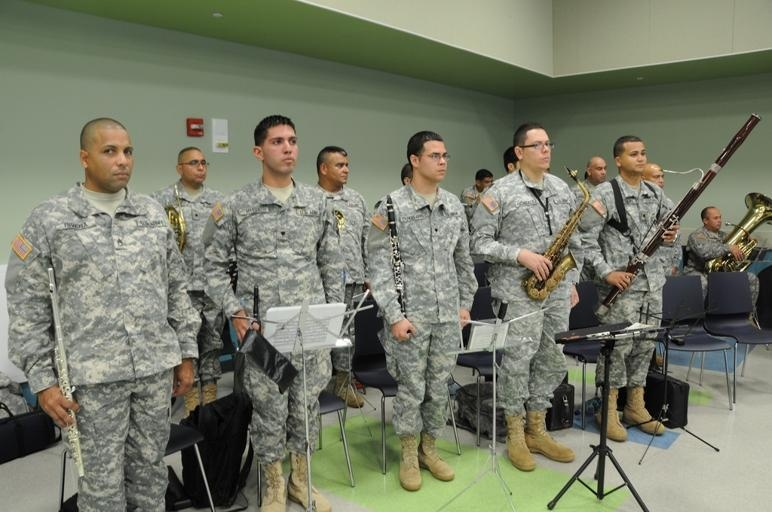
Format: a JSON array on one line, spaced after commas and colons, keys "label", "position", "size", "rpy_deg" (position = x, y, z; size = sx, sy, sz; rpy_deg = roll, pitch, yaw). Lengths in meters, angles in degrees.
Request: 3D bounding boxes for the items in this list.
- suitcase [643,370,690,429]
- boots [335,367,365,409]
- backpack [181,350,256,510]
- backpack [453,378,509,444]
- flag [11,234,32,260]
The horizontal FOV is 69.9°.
[{"label": "suitcase", "position": [2.510, 1.283, 4.942], "size": [0.320, 0.437, 0.482], "rpy_deg": [16, 15, 41]}, {"label": "boots", "position": [-0.353, 1.324, 5.429], "size": [0.229, 0.213, 0.108], "rpy_deg": [11, -18, -24]}, {"label": "backpack", "position": [-1.163, 1.246, 4.105], "size": [0.463, 1.052, 0.737], "rpy_deg": [0, 11, -12]}, {"label": "backpack", "position": [0.818, 1.368, 4.882], "size": [0.429, 0.388, 0.573], "rpy_deg": [2, -3, -8]}, {"label": "flag", "position": [-1.994, -0.046, 3.013], "size": [0.087, 0.135, 0.015], "rpy_deg": [36, 9, 6]}]
